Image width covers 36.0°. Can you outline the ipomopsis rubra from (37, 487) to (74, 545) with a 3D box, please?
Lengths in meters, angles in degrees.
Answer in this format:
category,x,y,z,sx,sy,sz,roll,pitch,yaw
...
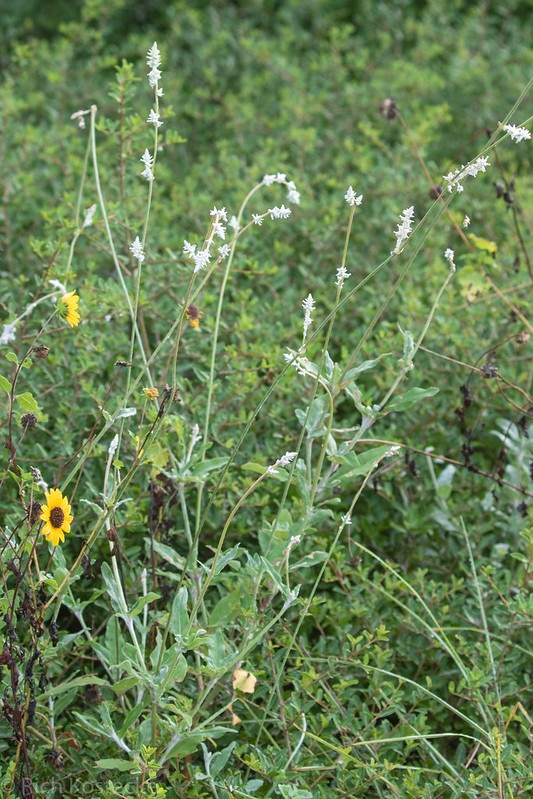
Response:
category,x,y,z,sx,sy,sz,roll,pitch,yaw
ipomopsis rubra,-0.360,0.207,1.419,0.074,0.024,0.067,13,36,-1

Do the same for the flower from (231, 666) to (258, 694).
category,x,y,z,sx,sy,sz,roll,pitch,yaw
flower,-0.047,0.539,1.558,0.069,0.061,0.019,0,6,11
